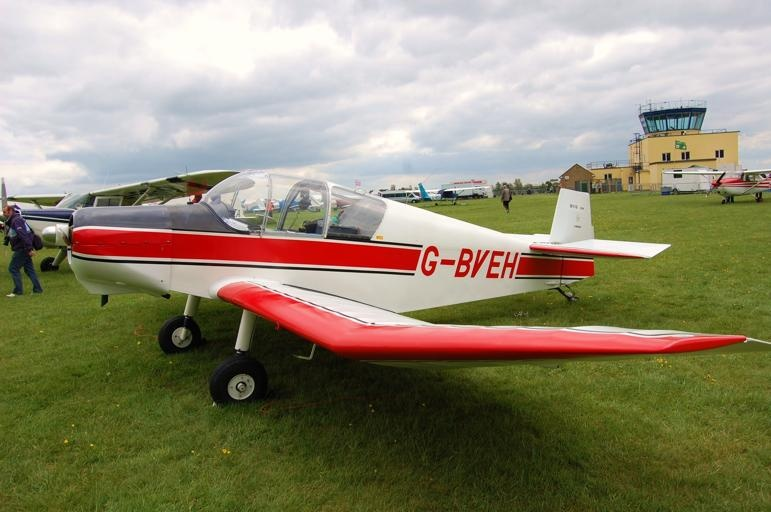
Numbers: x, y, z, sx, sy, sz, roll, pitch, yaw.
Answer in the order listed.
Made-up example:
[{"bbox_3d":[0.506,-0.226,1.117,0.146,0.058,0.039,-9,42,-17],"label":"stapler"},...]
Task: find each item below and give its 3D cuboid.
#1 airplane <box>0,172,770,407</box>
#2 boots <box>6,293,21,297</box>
[{"bbox_3d":[-0.237,0.146,6.844,6.774,2.504,4.175,2,13,13],"label":"airplane"},{"bbox_3d":[-7.276,0.774,10.058,0.252,0.099,0.090,-5,-2,33],"label":"boots"}]
